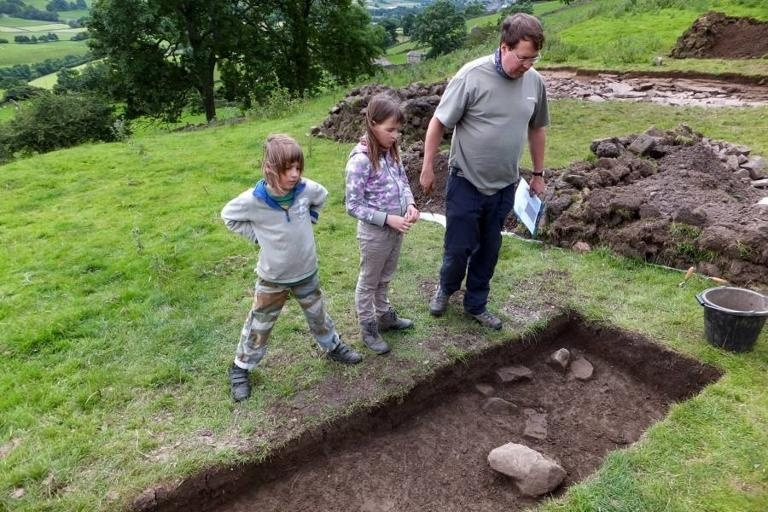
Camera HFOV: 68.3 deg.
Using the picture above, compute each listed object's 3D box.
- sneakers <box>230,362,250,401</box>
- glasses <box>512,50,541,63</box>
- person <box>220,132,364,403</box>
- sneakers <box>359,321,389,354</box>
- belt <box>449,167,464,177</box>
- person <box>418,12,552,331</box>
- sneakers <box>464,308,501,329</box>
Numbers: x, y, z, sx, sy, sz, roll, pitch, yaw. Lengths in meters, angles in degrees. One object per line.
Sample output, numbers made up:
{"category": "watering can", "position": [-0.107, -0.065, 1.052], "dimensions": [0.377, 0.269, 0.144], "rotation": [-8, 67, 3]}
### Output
{"category": "sneakers", "position": [-1.543, 1.355, 6.037], "dimensions": [0.175, 0.170, 0.406], "rotation": [-4, 43, -30]}
{"category": "glasses", "position": [1.481, -2.028, 5.839], "dimensions": [0.258, 0.092, 0.060], "rotation": [-10, 28, -14]}
{"category": "person", "position": [-1.099, 0.090, 5.937], "dimensions": [1.329, 2.548, 0.791], "rotation": [-13, 28, -18]}
{"category": "sneakers", "position": [-0.127, 0.908, 6.439], "dimensions": [0.160, 0.271, 0.433], "rotation": [-9, 24, -38]}
{"category": "belt", "position": [0.798, -0.924, 6.280], "dimensions": [0.140, 0.056, 0.104], "rotation": [-6, 46, -1]}
{"category": "person", "position": [1.166, -0.883, 6.404], "dimensions": [1.502, 3.334, 0.829], "rotation": [-19, 31, -28]}
{"category": "sneakers", "position": [1.202, 0.762, 6.815], "dimensions": [0.441, 0.188, 0.183], "rotation": [16, 37, 20]}
